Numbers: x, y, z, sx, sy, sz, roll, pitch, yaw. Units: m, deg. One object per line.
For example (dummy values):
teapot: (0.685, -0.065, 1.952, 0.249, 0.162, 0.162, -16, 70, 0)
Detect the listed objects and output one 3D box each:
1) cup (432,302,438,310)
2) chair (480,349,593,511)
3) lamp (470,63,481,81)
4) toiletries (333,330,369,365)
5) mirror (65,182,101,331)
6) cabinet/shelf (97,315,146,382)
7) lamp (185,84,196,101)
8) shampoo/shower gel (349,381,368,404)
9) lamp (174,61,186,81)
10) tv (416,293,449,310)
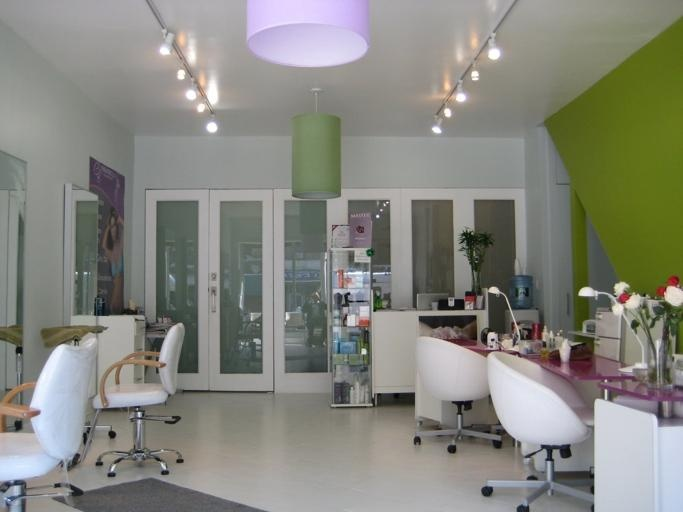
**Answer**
cup: (1.271, 0.683, 7.638, 0.078, 0.167, 0.084, 0, -5, 0)
chair: (1.534, 1.309, 4.695, 0.982, 1.363, 1.173, -3, -6, 15)
lamp: (1.484, -2.030, 6.189, 0.121, 0.254, 0.086, -1, 6, 2)
toiletries: (0.122, 1.237, 7.541, 0.491, 0.354, 0.139, 0, 0, 0)
mirror: (-3.175, -0.037, 6.699, 0.227, 1.625, 0.586, 0, 0, 1)
cabinet/shelf: (-2.781, 1.143, 6.935, 0.286, 0.866, 0.881, -1, -5, -5)
lamp: (-1.819, -1.969, 6.682, 0.058, 0.263, 0.248, 0, 1, -36)
shampoo/shower gel: (0.222, 1.863, 7.645, 0.227, 0.354, 0.338, 1, -6, -3)
lamp: (-1.820, -2.085, 6.260, 0.142, 0.156, 0.151, 10, -19, -26)
tv: (1.198, 0.621, 7.692, 0.309, 0.227, 0.230, 2, -2, -5)
